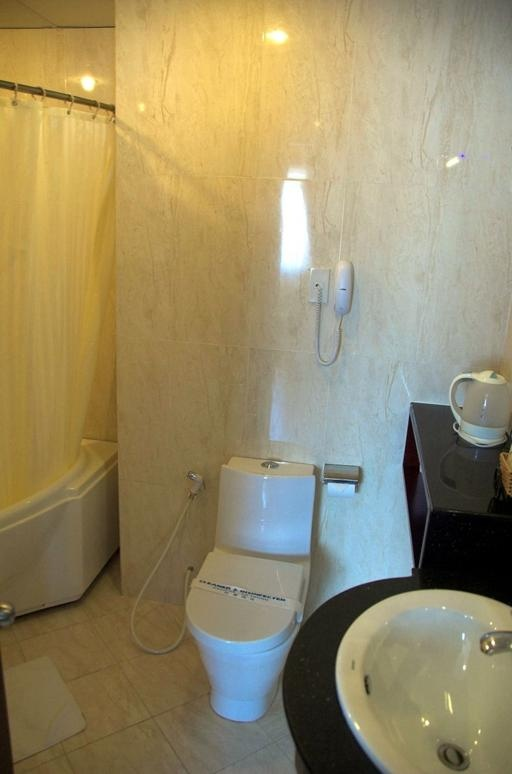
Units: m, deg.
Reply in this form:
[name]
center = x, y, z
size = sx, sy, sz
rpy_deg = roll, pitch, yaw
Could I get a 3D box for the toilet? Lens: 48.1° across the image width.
[toilet]
center = -0.008, 0.627, 1.876
size = 0.334, 0.921, 0.693
rpy_deg = 5, 19, 9

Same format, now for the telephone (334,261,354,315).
[telephone]
center = 0.280, -0.307, 1.818
size = 0.035, 0.212, 0.056
rpy_deg = 2, 15, 5
